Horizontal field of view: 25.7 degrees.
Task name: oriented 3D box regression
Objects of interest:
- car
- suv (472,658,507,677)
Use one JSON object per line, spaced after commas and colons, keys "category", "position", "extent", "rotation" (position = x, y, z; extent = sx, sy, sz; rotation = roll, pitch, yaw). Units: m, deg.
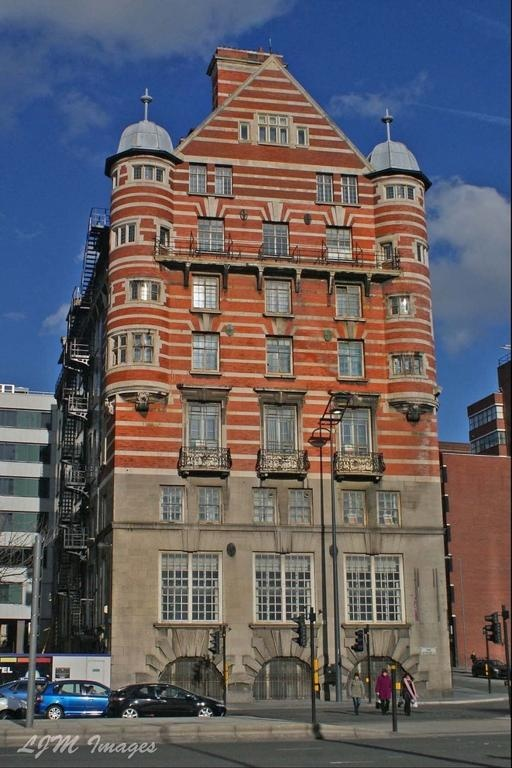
{"category": "car", "position": [-4.569, 10.537, 37.537], "extent": [5.972, 1.350, 1.779], "rotation": [-6, -16, 12]}
{"category": "suv", "position": [14.644, 17.959, 70.513], "extent": [1.805, 1.296, 4.232], "rotation": [-4, -16, 7]}
